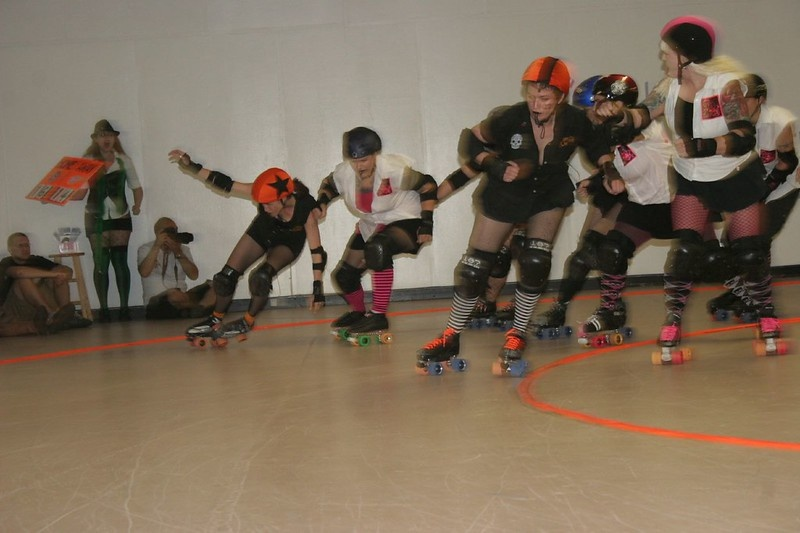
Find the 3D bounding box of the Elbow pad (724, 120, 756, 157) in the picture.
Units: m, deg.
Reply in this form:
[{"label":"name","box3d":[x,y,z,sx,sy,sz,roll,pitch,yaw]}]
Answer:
[{"label":"Elbow pad","box3d":[2.250,-0.851,4.462,0.250,0.200,0.103,2,12,-41]}]

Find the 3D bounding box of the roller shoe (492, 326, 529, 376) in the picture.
[{"label":"roller shoe","box3d":[0.798,0.602,4.812,0.246,0.284,0.338,1,7,29]}]

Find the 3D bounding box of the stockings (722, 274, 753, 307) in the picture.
[{"label":"stockings","box3d":[3.094,0.221,6.195,0.085,0.231,0.223,-33,55,-30]}]

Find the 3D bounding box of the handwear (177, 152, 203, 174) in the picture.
[{"label":"handwear","box3d":[-1.983,-0.969,6.390,0.211,0.184,0.480,-5,7,-18]}]

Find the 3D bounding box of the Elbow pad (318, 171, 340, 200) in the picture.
[{"label":"Elbow pad","box3d":[-0.671,-0.764,6.497,0.196,0.283,0.110,11,11,40]}]

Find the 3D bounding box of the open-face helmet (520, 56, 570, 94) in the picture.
[{"label":"open-face helmet","box3d":[0.984,-1.248,4.563,0.262,0.176,0.273,26,21,29]}]

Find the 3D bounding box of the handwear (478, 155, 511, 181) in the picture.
[{"label":"handwear","box3d":[0.677,-0.707,4.805,0.081,0.150,0.206,-35,41,-18]}]

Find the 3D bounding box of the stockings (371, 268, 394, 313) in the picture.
[{"label":"stockings","box3d":[-0.171,0.236,6.493,0.201,0.479,0.344,-3,7,-2]}]

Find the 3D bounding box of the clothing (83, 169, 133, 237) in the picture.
[{"label":"clothing","box3d":[-3.975,-0.890,9.282,0.649,1.062,0.419,0,6,-9]}]

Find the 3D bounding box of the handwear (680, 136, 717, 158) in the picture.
[{"label":"handwear","box3d":[1.987,-0.789,4.470,0.210,0.119,0.064,-2,7,5]}]

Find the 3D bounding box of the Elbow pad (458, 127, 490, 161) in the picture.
[{"label":"Elbow pad","box3d":[0.525,-0.898,5.023,0.205,0.099,0.250,-35,37,-24]}]

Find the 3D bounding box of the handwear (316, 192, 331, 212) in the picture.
[{"label":"handwear","box3d":[-0.721,-0.625,6.439,0.135,0.169,0.234,-4,7,-6]}]

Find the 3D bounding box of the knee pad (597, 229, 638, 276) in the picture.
[{"label":"knee pad","box3d":[1.663,-0.076,5.227,0.183,0.291,0.297,28,5,31]}]

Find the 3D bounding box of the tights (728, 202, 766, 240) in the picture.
[{"label":"tights","box3d":[2.446,-0.295,4.823,0.275,0.288,0.246,3,-7,-21]}]

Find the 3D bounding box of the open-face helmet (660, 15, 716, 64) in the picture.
[{"label":"open-face helmet","box3d":[1.961,-1.532,4.583,0.346,0.337,0.229,-1,7,20]}]

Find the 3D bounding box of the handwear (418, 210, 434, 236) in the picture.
[{"label":"handwear","box3d":[0.224,-0.395,6.020,0.122,0.214,0.194,-3,7,1]}]

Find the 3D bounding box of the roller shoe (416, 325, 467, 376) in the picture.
[{"label":"roller shoe","box3d":[0.300,0.608,4.893,0.411,0.293,0.243,4,-4,-41]}]

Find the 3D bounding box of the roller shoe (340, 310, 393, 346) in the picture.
[{"label":"roller shoe","box3d":[-0.296,0.595,6.281,0.318,0.198,0.376,2,-1,-13]}]

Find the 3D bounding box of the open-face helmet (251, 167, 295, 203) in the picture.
[{"label":"open-face helmet","box3d":[-1.176,-0.770,6.175,0.433,0.216,0.312,-24,47,-35]}]

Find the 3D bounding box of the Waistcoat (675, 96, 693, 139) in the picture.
[{"label":"Waistcoat","box3d":[1.939,-1.025,4.622,0.068,0.257,0.177,-3,11,-21]}]

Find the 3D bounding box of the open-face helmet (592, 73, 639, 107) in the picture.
[{"label":"open-face helmet","box3d":[1.848,-1.445,5.796,0.357,0.300,0.280,11,42,13]}]

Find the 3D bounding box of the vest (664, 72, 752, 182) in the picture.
[{"label":"vest","box3d":[2.091,-0.985,4.724,0.385,0.693,0.504,-35,29,-31]}]

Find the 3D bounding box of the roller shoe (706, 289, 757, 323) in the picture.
[{"label":"roller shoe","box3d":[3.165,0.382,6.456,0.374,0.237,0.244,-1,4,7]}]

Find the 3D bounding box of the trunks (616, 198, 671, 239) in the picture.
[{"label":"trunks","box3d":[1.897,-0.378,5.257,0.302,0.273,0.155,-2,23,-14]}]

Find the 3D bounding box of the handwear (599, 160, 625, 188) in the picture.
[{"label":"handwear","box3d":[1.620,-0.707,5.166,0.140,0.234,0.101,-25,-15,14]}]

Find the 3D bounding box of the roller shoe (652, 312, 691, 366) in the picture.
[{"label":"roller shoe","box3d":[2.012,0.529,5.015,0.247,0.318,0.553,1,2,29]}]

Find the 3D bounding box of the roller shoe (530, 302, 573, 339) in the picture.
[{"label":"roller shoe","box3d":[1.385,0.461,6.203,0.186,0.251,0.549,16,11,43]}]

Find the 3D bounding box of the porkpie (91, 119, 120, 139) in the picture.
[{"label":"porkpie","box3d":[-4.049,-1.904,9.283,0.357,0.255,0.394,-6,7,-23]}]

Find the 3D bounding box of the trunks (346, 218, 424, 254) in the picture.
[{"label":"trunks","box3d":[-0.069,-0.368,6.241,0.441,0.189,0.434,-9,-17,-25]}]

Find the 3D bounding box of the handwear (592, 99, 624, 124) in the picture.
[{"label":"handwear","box3d":[1.565,-1.151,5.166,0.223,0.132,0.295,-8,12,-4]}]

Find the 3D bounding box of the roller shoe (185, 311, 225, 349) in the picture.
[{"label":"roller shoe","box3d":[-1.862,0.617,6.509,0.370,0.358,0.286,3,-10,-23]}]

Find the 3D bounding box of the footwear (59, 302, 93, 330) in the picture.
[{"label":"footwear","box3d":[-4.048,0.658,8.382,0.468,0.201,0.150,-3,7,-29]}]

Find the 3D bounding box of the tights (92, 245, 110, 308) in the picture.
[{"label":"tights","box3d":[-4.021,0.149,9.158,0.237,0.824,0.437,-6,7,-24]}]

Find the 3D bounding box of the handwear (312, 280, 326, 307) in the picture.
[{"label":"handwear","box3d":[-0.767,0.246,6.221,0.150,0.241,0.087,7,-10,-41]}]

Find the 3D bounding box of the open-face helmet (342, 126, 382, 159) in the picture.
[{"label":"open-face helmet","box3d":[-0.331,-1.078,5.866,0.383,0.240,0.373,-14,15,-6]}]

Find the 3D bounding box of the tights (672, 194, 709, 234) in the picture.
[{"label":"tights","box3d":[2.030,-0.355,4.762,0.254,0.280,0.258,1,-5,9]}]
